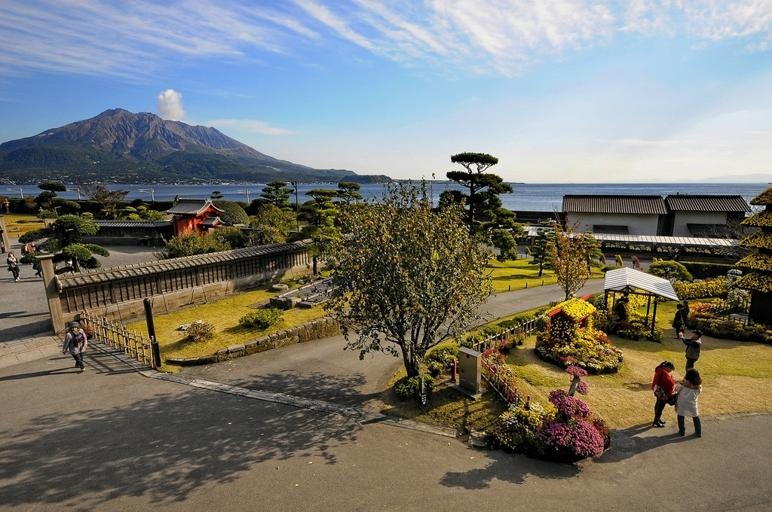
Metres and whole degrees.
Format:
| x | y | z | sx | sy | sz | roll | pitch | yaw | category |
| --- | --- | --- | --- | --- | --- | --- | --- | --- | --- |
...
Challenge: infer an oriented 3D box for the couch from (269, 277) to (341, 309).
| x | y | z | sx | sy | sz | roll | pitch | yaw | category |
| --- | --- | --- | --- | --- | --- | --- | --- | --- | --- |
| -5.738 | 2.912 | 31.295 | 2.934 | 0.671 | 5.388 | 5 | 11 | 23 | couch |
